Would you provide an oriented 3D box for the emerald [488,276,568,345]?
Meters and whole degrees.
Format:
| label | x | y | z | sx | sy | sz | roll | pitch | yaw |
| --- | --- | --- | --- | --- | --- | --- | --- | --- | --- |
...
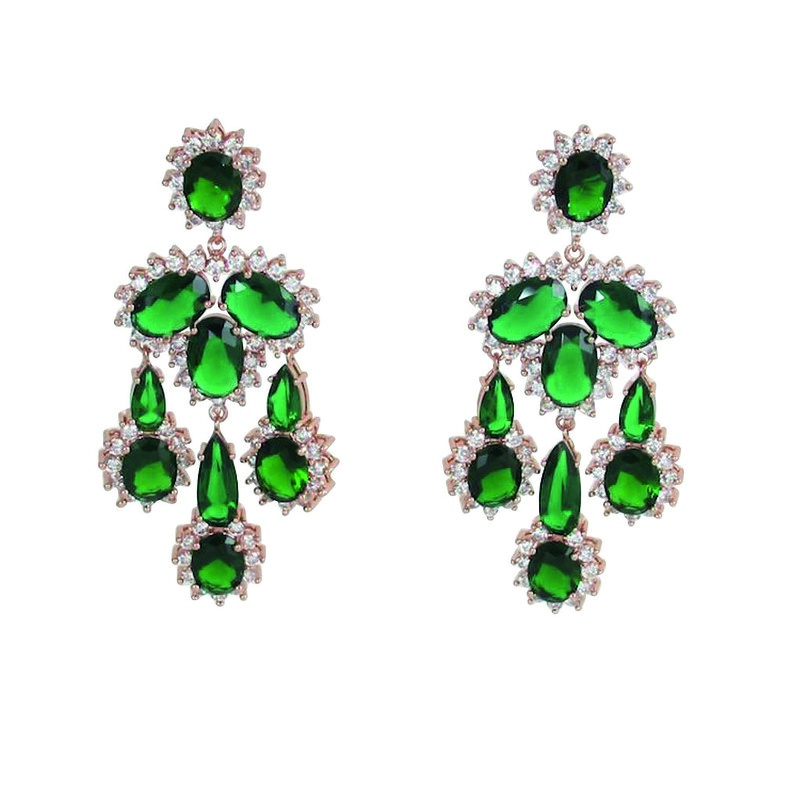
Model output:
| label | x | y | z | sx | sy | sz | roll | pitch | yaw |
| --- | --- | --- | --- | --- | --- | --- | --- | --- | --- |
| emerald | 0.442 | -0.306 | 3.843 | 0.295 | 0.102 | 0.197 | -25 | -62 | 12 |
